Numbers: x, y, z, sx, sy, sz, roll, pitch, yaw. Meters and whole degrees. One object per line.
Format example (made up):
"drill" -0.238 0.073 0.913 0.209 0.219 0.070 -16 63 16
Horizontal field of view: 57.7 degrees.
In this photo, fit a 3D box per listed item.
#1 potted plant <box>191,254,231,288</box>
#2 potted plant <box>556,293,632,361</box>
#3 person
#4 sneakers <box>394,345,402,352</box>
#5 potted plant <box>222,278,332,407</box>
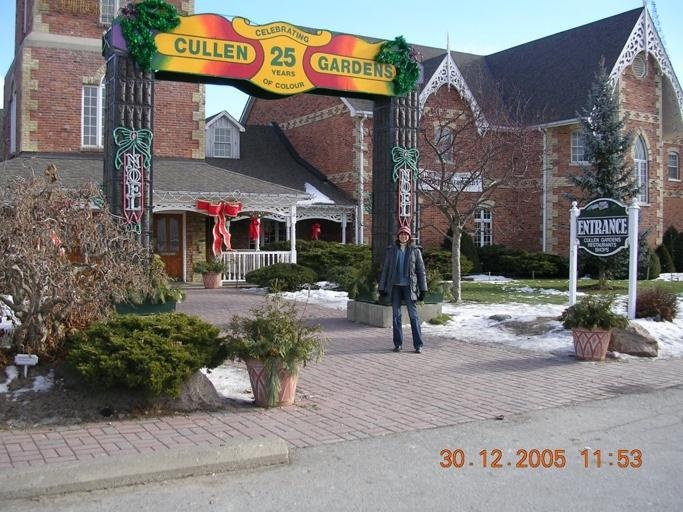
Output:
"potted plant" -4.634 0.595 22.199 1.097 1.128 1.114 -1 -8 11
"potted plant" 4.285 1.227 10.771 1.045 1.099 1.037 6 -5 -44
"person" 1.102 0.581 11.289 0.875 2.223 0.733 0 -1 17
"sneakers" 0.988 1.646 11.065 0.151 0.090 0.217 0 -1 2
"potted plant" -0.916 1.259 8.100 1.170 1.289 1.206 1 -7 -38
